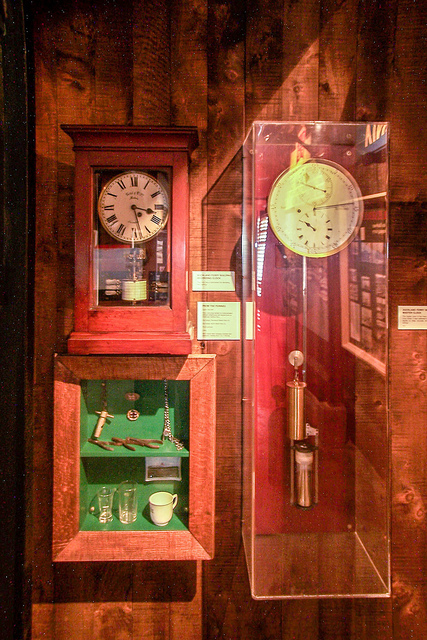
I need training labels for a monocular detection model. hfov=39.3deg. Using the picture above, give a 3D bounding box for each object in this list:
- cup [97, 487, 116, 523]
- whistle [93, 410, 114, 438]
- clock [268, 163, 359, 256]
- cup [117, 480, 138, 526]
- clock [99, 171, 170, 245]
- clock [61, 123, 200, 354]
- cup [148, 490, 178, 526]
[{"bbox_3d":[-0.300,0.517,1.662,0.059,0.083,0.115,0,89,-15],"label":"cup"},{"bbox_3d":[-0.308,0.289,1.651,0.046,0.018,0.065,25,89,-6],"label":"whistle"},{"bbox_3d":[0.236,-0.278,1.453,0.145,0.020,0.146,-42,93,6],"label":"clock"},{"bbox_3d":[-0.245,0.517,1.685,0.075,0.082,0.104,-6,73,11],"label":"cup"},{"bbox_3d":[-0.207,-0.292,1.547,0.153,0.024,0.184,1,94,1],"label":"clock"},{"bbox_3d":[-0.226,-0.168,1.624,0.353,0.245,0.693,0,60,-9],"label":"clock"},{"bbox_3d":[-0.141,0.518,1.641,0.079,0.065,0.070,2,85,-40],"label":"cup"}]
